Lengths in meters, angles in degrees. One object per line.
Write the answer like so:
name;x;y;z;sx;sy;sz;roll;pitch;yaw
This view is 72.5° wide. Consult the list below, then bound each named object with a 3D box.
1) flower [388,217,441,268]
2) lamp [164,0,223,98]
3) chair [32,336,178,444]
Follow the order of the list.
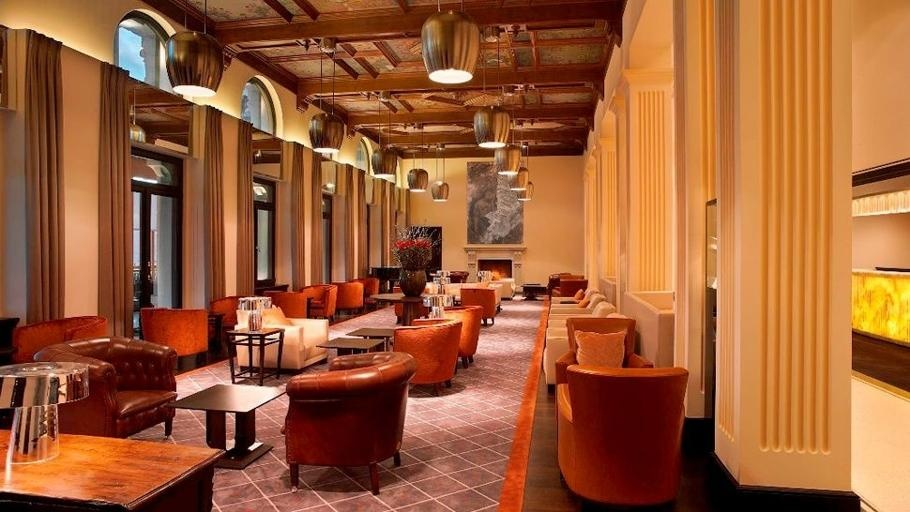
flower;-0.809;-0.123;12.118;0.998;0.695;0.943;2;-2;-8
lamp;-2.820;-2.101;6.727;0.580;0.645;0.338;-5;12;-18
chair;-4.202;1.604;7.471;1.330;0.984;1.400;5;0;3
